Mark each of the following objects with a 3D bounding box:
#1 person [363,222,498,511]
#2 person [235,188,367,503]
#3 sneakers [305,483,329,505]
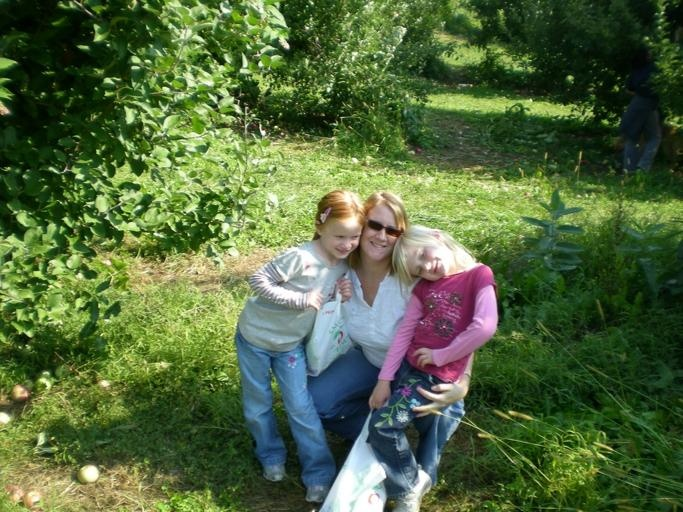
[{"bbox_3d":[0.557,0.704,3.827,0.682,1.656,0.992,8,23,12],"label":"person"},{"bbox_3d":[-0.302,0.553,3.899,0.778,1.875,0.930,3,23,1],"label":"person"},{"bbox_3d":[-0.161,1.491,3.863,0.154,0.124,0.086,7,23,11],"label":"sneakers"}]
